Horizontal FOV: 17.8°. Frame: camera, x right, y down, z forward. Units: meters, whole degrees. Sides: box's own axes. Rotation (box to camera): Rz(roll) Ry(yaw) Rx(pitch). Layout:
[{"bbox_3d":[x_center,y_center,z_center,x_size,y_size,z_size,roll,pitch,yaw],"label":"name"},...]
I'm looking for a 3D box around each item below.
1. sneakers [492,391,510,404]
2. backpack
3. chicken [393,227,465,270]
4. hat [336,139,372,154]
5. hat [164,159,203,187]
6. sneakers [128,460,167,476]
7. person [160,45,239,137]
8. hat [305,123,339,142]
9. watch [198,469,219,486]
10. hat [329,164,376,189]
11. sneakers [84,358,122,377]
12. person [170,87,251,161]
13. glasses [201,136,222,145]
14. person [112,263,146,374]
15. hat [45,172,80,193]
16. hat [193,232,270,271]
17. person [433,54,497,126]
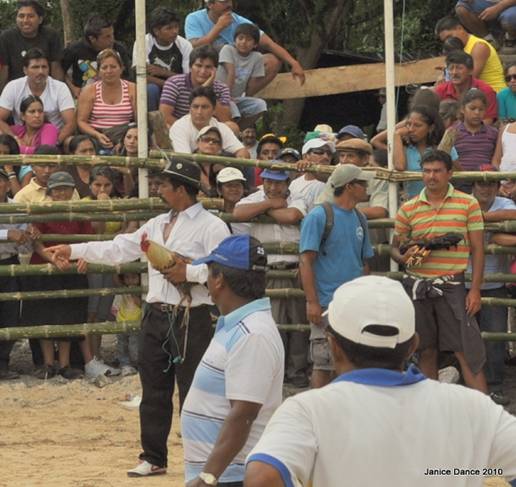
[{"bbox_3d":[2.181,1.399,14.918,0.137,0.039,0.106,15,18,-26],"label":"sneakers"},{"bbox_3d":[0.673,-0.149,14.305,0.469,0.452,0.312,12,5,7],"label":"backpack"},{"bbox_3d":[1.475,0.049,14.248,0.567,0.300,0.225,0,1,11],"label":"chicken"},{"bbox_3d":[0.872,-0.895,15.031,0.337,0.140,0.249,0,1,-4],"label":"hat"},{"bbox_3d":[-0.625,-0.569,13.550,0.251,0.098,0.214,23,0,-18],"label":"hat"},{"bbox_3d":[-0.933,1.868,13.681,0.282,0.123,0.122,9,-11,-26],"label":"sneakers"},{"bbox_3d":[-0.655,-1.463,16.272,0.854,0.985,0.859,-2,13,-25],"label":"person"},{"bbox_3d":[0.620,-1.104,16.362,0.218,0.141,0.329,2,7,9],"label":"hat"},{"bbox_3d":[-0.367,1.698,11.942,0.108,0.087,0.056,40,12,2],"label":"watch"},{"bbox_3d":[0.778,-0.587,14.152,0.309,0.155,0.197,-11,18,3],"label":"hat"},{"bbox_3d":[-1.528,1.203,15.814,0.258,0.123,0.163,15,14,19],"label":"sneakers"},{"bbox_3d":[-0.466,-1.147,15.501,0.674,0.576,0.909,-5,7,-13],"label":"person"},{"bbox_3d":[-0.451,-0.969,15.397,0.095,0.029,0.096,10,-23,-19],"label":"glasses"},{"bbox_3d":[-1.276,0.748,16.129,0.268,0.947,0.250,1,3,-4],"label":"person"},{"bbox_3d":[-1.870,-0.574,15.539,0.196,0.140,0.267,-2,-6,-10],"label":"hat"},{"bbox_3d":[-0.163,0.073,12.302,0.373,0.182,0.241,12,2,12],"label":"hat"},{"bbox_3d":[2.053,-1.522,16.438,0.771,0.694,0.449,8,25,33],"label":"person"}]
